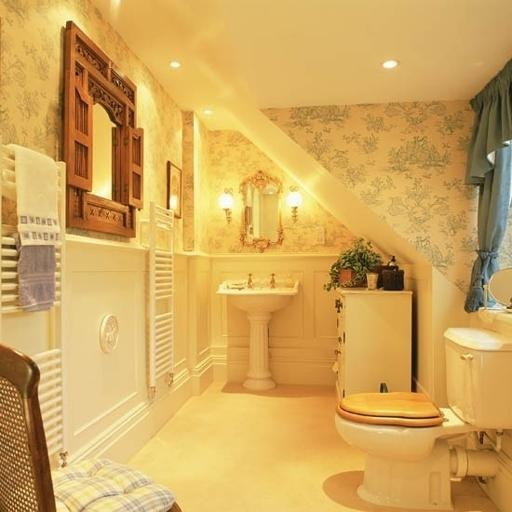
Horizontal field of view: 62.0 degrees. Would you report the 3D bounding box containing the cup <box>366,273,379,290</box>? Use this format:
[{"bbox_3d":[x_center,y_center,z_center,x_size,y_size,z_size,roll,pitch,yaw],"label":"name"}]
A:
[{"bbox_3d":[0.905,0.197,3.335,0.093,0.165,0.104,-2,-7,16],"label":"cup"}]

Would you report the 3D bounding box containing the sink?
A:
[{"bbox_3d":[0.024,0.391,4.134,0.774,0.308,0.622,0,-2,3],"label":"sink"}]

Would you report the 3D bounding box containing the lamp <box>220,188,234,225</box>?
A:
[{"bbox_3d":[-0.320,-0.535,4.506,0.155,0.366,0.124,0,-1,-4],"label":"lamp"}]

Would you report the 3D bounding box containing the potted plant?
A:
[{"bbox_3d":[0.826,0.070,3.624,0.467,0.443,0.340,-1,-2,10],"label":"potted plant"}]

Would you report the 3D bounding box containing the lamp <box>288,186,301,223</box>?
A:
[{"bbox_3d":[0.393,-0.539,4.418,0.151,0.370,0.112,0,-1,4],"label":"lamp"}]
